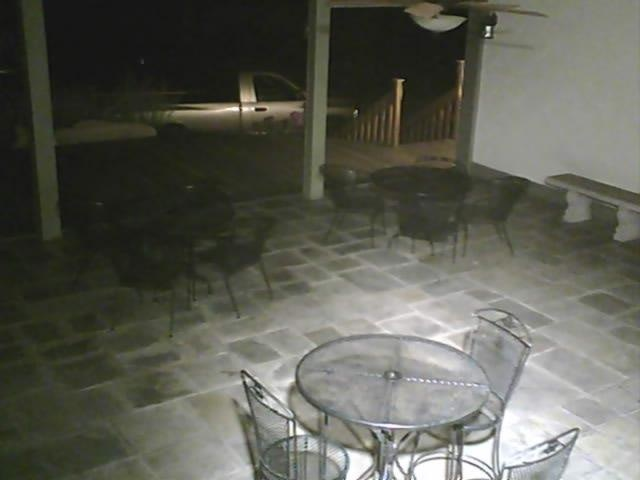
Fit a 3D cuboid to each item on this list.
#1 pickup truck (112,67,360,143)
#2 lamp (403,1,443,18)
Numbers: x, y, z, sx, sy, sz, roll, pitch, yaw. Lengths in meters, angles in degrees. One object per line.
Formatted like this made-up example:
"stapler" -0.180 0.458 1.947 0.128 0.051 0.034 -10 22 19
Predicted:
"pickup truck" -1.295 -2.033 7.796 1.915 0.637 1.005 -11 30 -26
"lamp" 0.849 -1.856 4.551 0.288 0.118 0.440 6 24 10
